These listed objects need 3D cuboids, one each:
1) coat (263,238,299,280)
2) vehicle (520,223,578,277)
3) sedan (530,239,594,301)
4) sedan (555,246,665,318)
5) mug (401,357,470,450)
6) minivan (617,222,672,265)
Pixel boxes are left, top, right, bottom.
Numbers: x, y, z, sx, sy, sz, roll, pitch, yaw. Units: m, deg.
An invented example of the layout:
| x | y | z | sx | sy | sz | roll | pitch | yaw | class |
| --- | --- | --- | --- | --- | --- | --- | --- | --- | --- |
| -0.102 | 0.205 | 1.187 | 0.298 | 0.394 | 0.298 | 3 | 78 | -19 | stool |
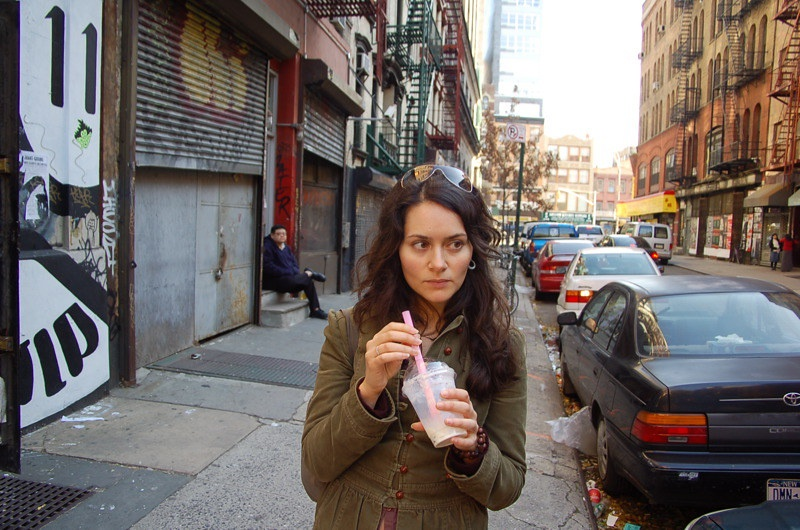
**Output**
| x | y | z | sx | sy | sz | roll | pitch | yaw | class |
| --- | --- | --- | --- | --- | --- | --- | --- | --- | --- |
| -2.205 | -0.134 | 10.080 | 0.510 | 0.795 | 0.914 | -9 | -1 | 27 | coat |
| 6.330 | -0.649 | 24.125 | 1.784 | 1.850 | 4.031 | -1 | 5 | 3 | vehicle |
| 4.271 | 0.004 | 15.636 | 0.954 | 0.920 | 2.536 | -1 | 3 | 1 | sedan |
| 3.870 | 0.128 | 10.909 | 1.306 | 1.300 | 2.555 | -2 | 5 | 0 | sedan |
| 0.185 | 0.743 | 3.052 | 0.307 | 0.493 | 0.353 | -6 | -34 | -20 | mug |
| 14.037 | -1.483 | 32.294 | 1.973 | 2.043 | 4.356 | 0 | 7 | 1 | minivan |
